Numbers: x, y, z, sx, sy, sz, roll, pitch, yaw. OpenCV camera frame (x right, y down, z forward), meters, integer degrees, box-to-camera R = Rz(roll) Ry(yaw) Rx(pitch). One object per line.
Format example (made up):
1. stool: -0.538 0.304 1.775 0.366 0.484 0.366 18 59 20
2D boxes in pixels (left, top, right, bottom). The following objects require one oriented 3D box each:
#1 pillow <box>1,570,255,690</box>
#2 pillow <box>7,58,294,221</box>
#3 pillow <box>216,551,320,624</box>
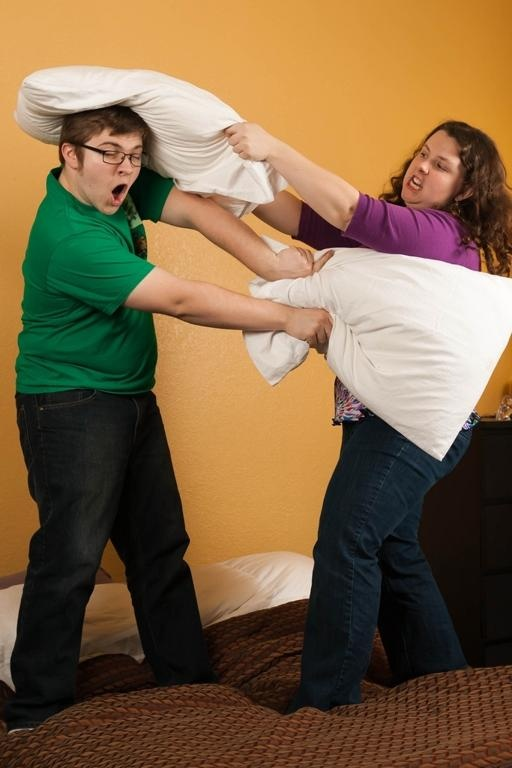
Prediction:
1. pillow: -0.281 0.598 1.728 0.390 0.084 0.271 0 -5 -34
2. pillow: -0.190 -0.446 1.288 0.352 0.129 0.402 24 4 43
3. pillow: 0.054 0.575 1.924 0.215 0.042 0.178 -3 6 -26
